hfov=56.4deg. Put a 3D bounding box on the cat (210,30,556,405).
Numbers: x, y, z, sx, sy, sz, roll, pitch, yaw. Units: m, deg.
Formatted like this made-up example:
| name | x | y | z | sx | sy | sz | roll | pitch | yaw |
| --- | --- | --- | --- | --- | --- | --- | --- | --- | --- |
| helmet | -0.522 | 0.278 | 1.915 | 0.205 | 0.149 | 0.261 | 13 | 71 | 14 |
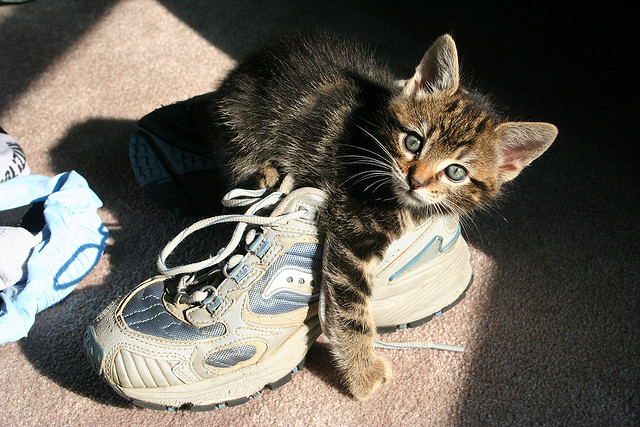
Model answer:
| name | x | y | z | sx | sy | sz | roll | pitch | yaw |
| --- | --- | --- | --- | --- | --- | --- | --- | --- | --- |
| cat | 0.067 | -0.181 | 1.916 | 0.868 | 0.540 | 1.185 | 11 | 38 | -23 |
